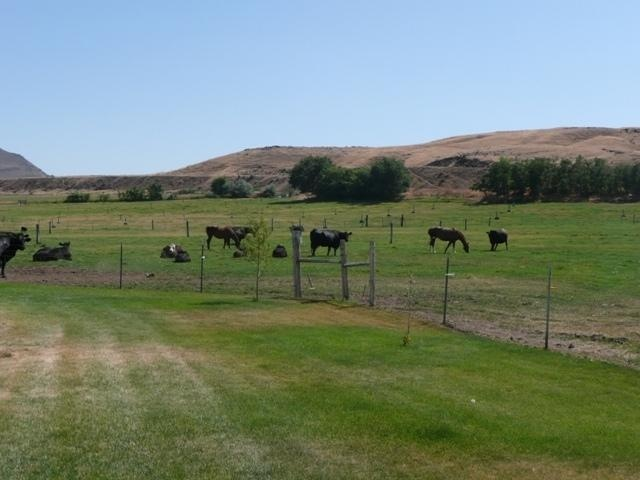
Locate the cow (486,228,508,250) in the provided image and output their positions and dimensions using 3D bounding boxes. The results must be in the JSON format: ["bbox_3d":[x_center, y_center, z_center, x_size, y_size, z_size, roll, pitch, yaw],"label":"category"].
[{"bbox_3d":[15.502,-0.023,61.916,2.060,1.766,1.119,-5,14,-36],"label":"cow"}]

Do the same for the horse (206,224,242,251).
[{"bbox_3d":[-9.239,-0.228,67.301,3.259,2.232,4.530,1,11,-9],"label":"horse"}]

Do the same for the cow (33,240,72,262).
[{"bbox_3d":[-21.534,0.878,55.536,3.847,1.954,1.371,-4,7,-24],"label":"cow"}]

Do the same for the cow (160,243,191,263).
[{"bbox_3d":[-11.539,1.097,56.851,1.538,0.898,2.271,1,0,-29],"label":"cow"}]
